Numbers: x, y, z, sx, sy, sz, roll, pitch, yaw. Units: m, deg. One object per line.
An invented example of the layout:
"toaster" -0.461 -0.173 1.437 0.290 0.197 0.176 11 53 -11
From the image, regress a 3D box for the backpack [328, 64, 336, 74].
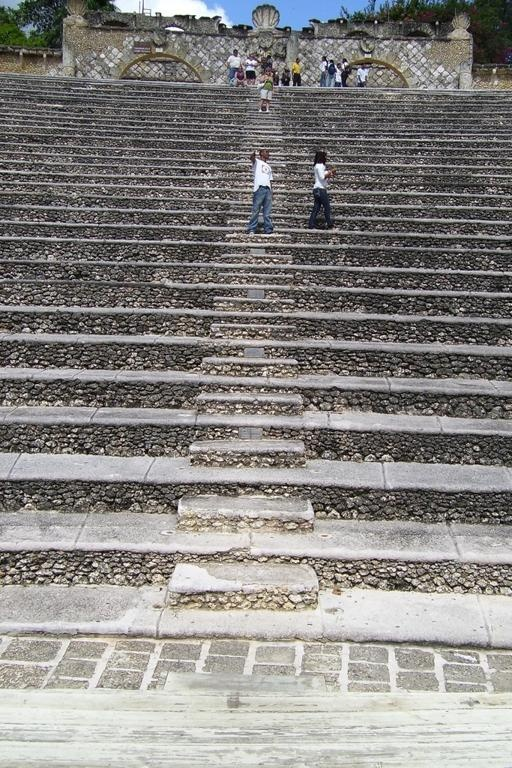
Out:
"backpack" 2.193 -9.053 20.129 0.209 0.283 0.280 0 -4 -1

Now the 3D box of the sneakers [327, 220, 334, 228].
"sneakers" 0.870 -1.862 8.169 0.075 0.094 0.148 -1 23 0

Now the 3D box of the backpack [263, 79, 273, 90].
"backpack" 0.232 -5.554 13.032 0.202 0.242 0.256 -2 9 -7

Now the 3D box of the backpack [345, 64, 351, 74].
"backpack" 2.612 -8.938 19.911 0.085 0.209 0.351 11 39 15
